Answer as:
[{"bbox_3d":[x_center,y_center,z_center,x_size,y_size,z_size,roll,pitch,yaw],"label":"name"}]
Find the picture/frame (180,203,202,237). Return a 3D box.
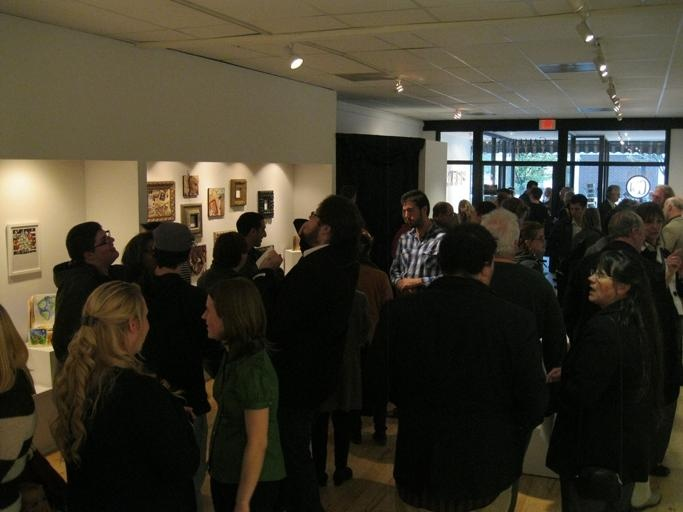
[{"bbox_3d":[-1.524,-0.382,6.015,0.036,0.372,0.362,-1,3,22],"label":"picture/frame"}]

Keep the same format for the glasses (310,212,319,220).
[{"bbox_3d":[-0.163,-0.242,3.555,0.036,0.047,0.050,-1,12,3],"label":"glasses"}]

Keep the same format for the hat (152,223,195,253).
[{"bbox_3d":[-0.979,-0.111,3.468,0.221,0.169,0.161,-1,6,-18],"label":"hat"}]

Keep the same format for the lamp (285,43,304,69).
[{"bbox_3d":[-0.439,-1.831,5.595,0.191,0.277,0.065,23,54,34],"label":"lamp"}]

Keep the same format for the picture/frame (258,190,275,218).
[{"bbox_3d":[-0.976,-0.674,7.656,0.046,0.480,0.447,-1,-1,27],"label":"picture/frame"}]

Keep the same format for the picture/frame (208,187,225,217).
[{"bbox_3d":[-1.477,-0.642,6.983,0.031,0.325,0.303,-1,-7,26],"label":"picture/frame"}]

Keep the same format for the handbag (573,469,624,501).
[{"bbox_3d":[1.451,1.277,3.335,0.209,0.207,0.053,-15,7,26],"label":"handbag"}]
